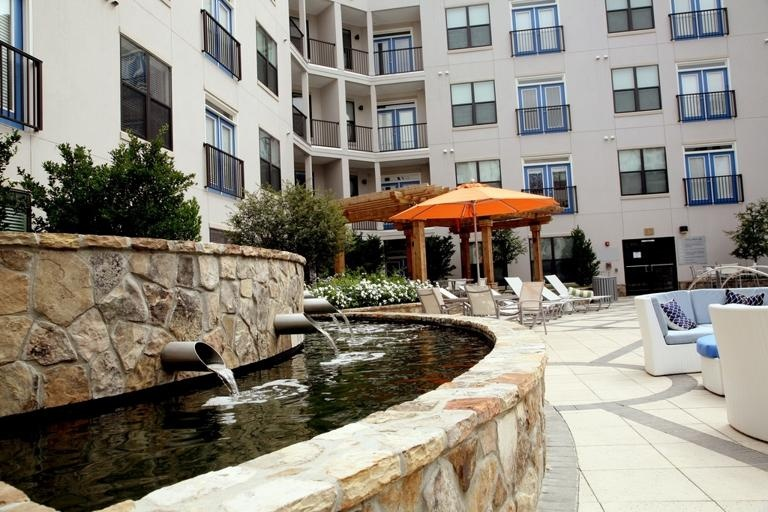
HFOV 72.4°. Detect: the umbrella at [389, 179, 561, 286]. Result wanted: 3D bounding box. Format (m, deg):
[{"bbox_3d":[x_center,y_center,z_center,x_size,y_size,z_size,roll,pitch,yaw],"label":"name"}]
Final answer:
[{"bbox_3d":[3.683,-0.809,19.489,4.051,2.721,4.147,-4,-8,14],"label":"umbrella"}]
